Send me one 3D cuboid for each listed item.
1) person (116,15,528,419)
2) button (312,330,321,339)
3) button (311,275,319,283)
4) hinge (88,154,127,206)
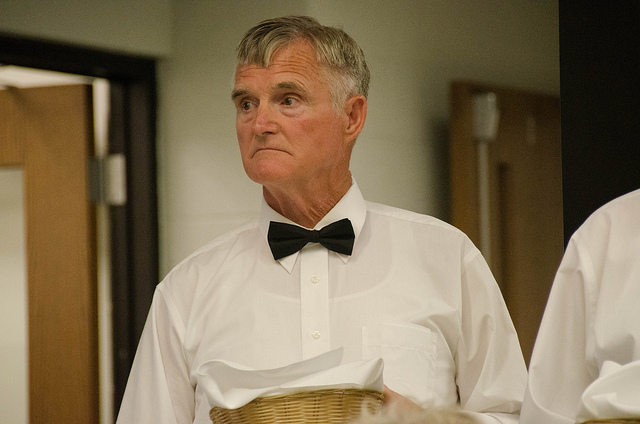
[{"bbox_3d":[0.081,0.016,3.652,1.219,1.478,0.788,-6,-14,22],"label":"person"},{"bbox_3d":[-0.013,0.427,3.372,0.021,0.025,0.006,-1,-13,4],"label":"button"},{"bbox_3d":[-0.012,0.238,3.419,0.019,0.023,0.005,1,-22,-4],"label":"button"},{"bbox_3d":[-0.930,-0.142,4.272,0.170,0.209,0.193,-3,-3,9],"label":"hinge"}]
